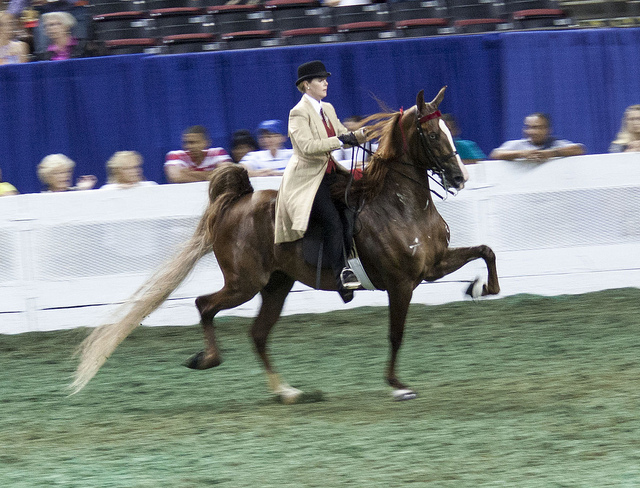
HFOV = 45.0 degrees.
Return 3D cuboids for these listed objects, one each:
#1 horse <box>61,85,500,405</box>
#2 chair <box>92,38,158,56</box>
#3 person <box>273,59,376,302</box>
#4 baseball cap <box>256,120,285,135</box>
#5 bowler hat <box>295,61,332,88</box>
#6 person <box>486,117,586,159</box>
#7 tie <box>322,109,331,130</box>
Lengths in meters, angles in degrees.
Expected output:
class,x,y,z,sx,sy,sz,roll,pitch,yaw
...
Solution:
class,x,y,z,sx,sy,sz,roll,pitch,yaw
horse,-0.289,0.164,5.674,3.803,1.871,0.826,-5,-14,31
chair,-2.080,-2.124,8.286,0.684,0.176,0.246,-4,13,-8
person,0.012,-0.416,5.193,0.739,1.611,0.606,-3,16,4
baseball cap,-0.487,-1.120,7.358,0.200,0.088,0.252,-1,-3,30
bowler hat,-0.058,-1.145,5.142,0.213,0.150,0.174,-3,13,-1
person,1.968,-0.985,7.126,0.934,0.297,0.446,-1,16,19
tie,0.039,-0.829,5.150,0.021,0.107,0.045,-29,-16,40
